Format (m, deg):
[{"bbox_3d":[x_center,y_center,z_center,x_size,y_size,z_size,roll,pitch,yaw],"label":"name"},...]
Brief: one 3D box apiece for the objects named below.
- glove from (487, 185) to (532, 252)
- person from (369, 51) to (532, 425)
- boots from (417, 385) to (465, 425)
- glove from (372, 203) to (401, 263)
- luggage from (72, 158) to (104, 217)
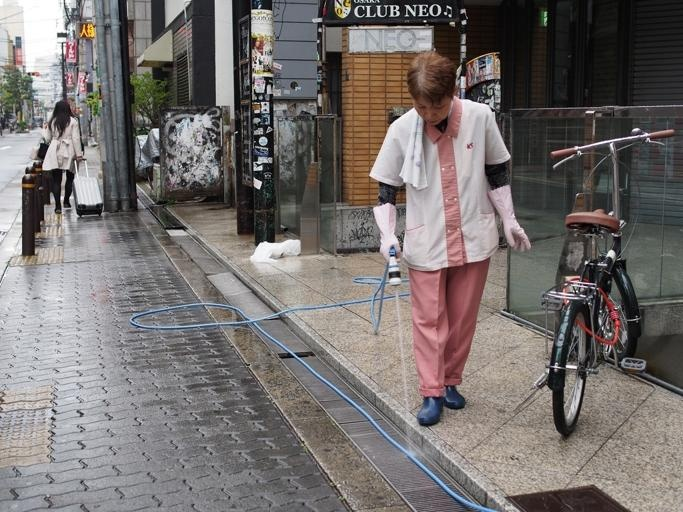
[{"bbox_3d":[1.025,-0.258,3.726,0.258,0.438,0.266,4,14,4],"label":"glove"},{"bbox_3d":[0.641,-0.108,3.684,0.856,2.222,0.462,-6,11,-20],"label":"person"},{"bbox_3d":[0.638,0.943,3.776,0.138,0.190,0.435,1,-4,27],"label":"boots"},{"bbox_3d":[0.277,-0.164,3.655,0.147,0.329,0.330,-1,11,4],"label":"glove"},{"bbox_3d":[-5.890,-1.699,13.728,0.547,1.498,0.524,-3,-17,-42],"label":"luggage"}]
